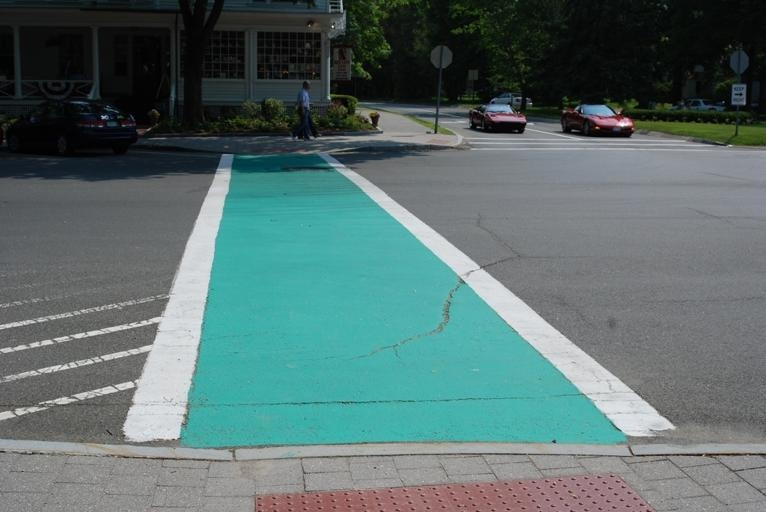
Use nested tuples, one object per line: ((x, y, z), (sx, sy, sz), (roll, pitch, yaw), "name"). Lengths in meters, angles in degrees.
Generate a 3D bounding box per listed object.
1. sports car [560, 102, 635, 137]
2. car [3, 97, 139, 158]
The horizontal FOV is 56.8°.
((10.543, -6.580, 34.724), (2.099, 1.416, 3.165), (-2, 16, -15), "sports car")
((-10.178, -4.167, 22.996), (4.434, 1.073, 1.854), (8, 15, 28), "car")
